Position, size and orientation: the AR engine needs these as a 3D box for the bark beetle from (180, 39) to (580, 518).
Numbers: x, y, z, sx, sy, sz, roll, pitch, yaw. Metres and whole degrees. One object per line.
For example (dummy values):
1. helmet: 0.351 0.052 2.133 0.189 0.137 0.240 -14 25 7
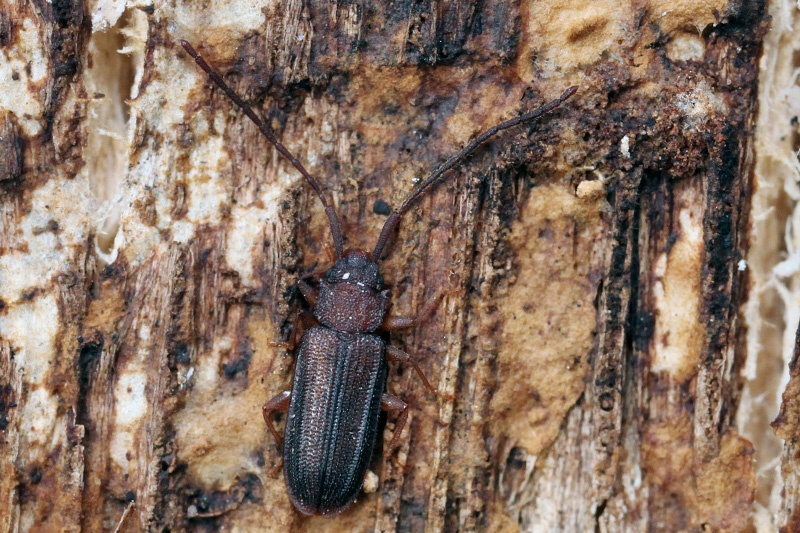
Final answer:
1. bark beetle: -0.411 0.230 10.642 1.737 3.043 0.588 -1 10 -9
